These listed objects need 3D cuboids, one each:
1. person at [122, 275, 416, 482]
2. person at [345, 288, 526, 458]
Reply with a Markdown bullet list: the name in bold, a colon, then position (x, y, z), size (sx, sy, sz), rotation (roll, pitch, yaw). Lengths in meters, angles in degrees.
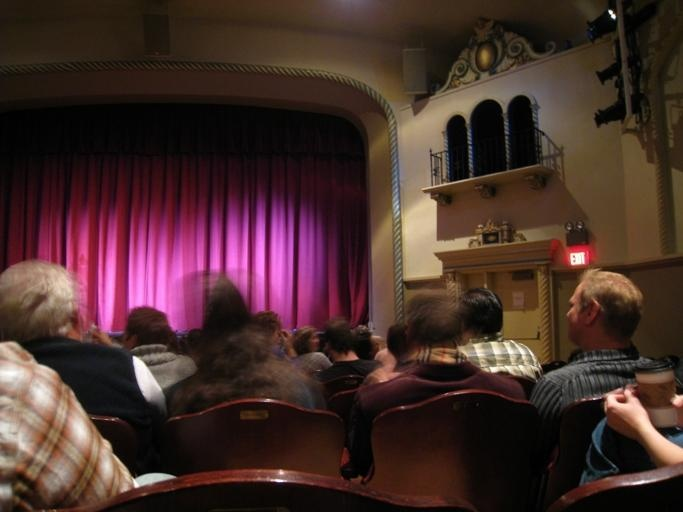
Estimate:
- **person**: position (-0.418, 0.371, 2.466), size (0.660, 0.954, 0.511), rotation (-8, 11, -16)
- **person**: position (0.430, 0.584, 2.673), size (0.819, 0.858, 0.446), rotation (1, 11, -14)
